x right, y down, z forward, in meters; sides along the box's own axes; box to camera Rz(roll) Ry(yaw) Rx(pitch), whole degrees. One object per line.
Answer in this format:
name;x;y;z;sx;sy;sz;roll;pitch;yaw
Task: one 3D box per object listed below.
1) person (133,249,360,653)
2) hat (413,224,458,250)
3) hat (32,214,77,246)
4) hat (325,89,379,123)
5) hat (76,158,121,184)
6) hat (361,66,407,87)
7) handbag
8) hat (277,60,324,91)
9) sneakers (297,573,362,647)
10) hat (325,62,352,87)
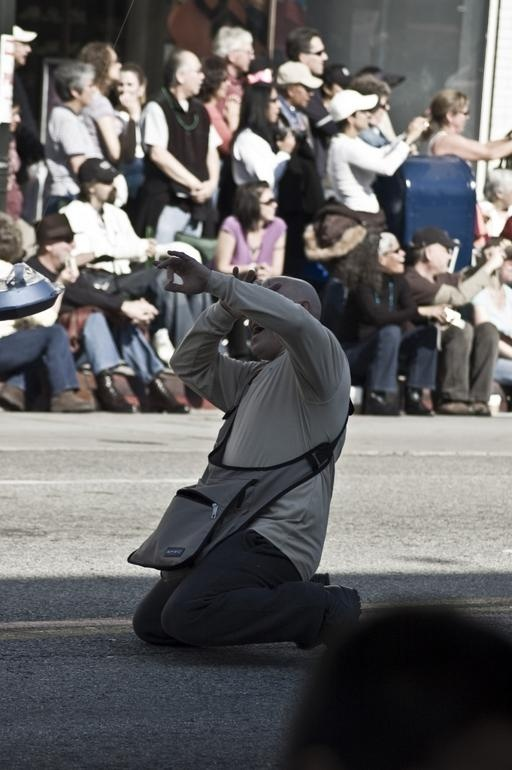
person;-0.008;0.215;4.955;0.678;1.219;0.749;9;-15;-21
hat;1.323;-1.102;12.043;0.236;0.145;0.179;-10;12;-19
hat;-1.325;-1.026;10.611;0.235;0.228;0.171;7;-10;-13
hat;0.694;-2.046;11.788;0.299;0.161;0.197;-20;30;4
hat;-1.078;-1.443;10.862;0.207;0.121;0.161;-11;13;-4
hat;0.950;-2.274;11.940;0.247;0.096;0.160;3;5;-23
handbag;-0.124;0.373;4.821;0.475;0.315;0.280;-1;7;-36
hat;0.301;-2.210;11.567;0.247;0.137;0.162;5;12;-14
sneakers;0.214;0.678;4.802;0.181;0.208;0.267;3;6;3
hat;0.581;-2.259;11.834;0.277;0.183;0.077;-3;7;-43
